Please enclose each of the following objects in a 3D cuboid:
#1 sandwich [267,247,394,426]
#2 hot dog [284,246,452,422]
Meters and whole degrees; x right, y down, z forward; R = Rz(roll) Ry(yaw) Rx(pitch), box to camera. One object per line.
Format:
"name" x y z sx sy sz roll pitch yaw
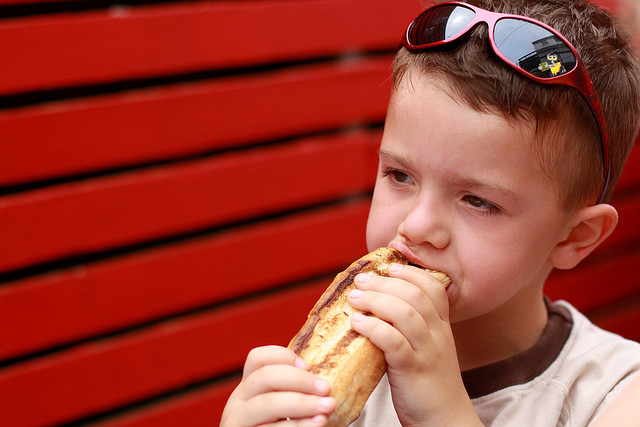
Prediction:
"sandwich" 0.143 0.430 2.085 0.660 0.294 0.173 -47 -30 -16
"hot dog" 0.227 0.329 2.151 0.824 0.371 0.236 -47 -20 -23
